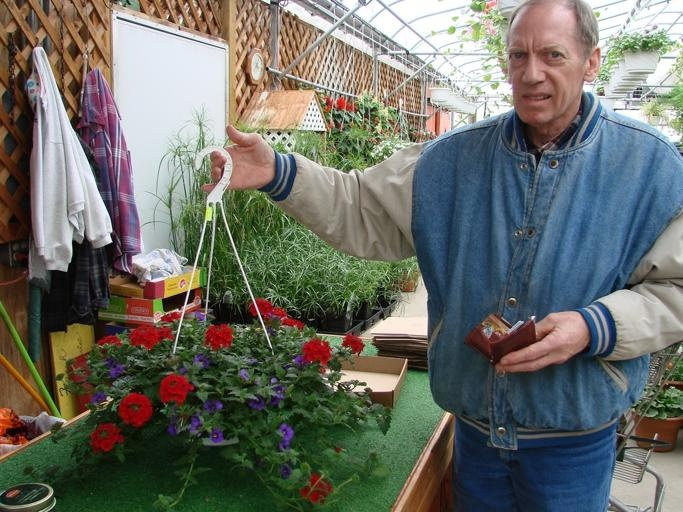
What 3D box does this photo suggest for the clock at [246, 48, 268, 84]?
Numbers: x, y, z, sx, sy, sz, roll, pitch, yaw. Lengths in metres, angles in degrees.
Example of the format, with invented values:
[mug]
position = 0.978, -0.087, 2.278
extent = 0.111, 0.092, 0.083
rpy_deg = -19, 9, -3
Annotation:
[clock]
position = -0.916, -2.011, 4.888
extent = 0.041, 0.339, 0.354
rpy_deg = 12, 17, 17

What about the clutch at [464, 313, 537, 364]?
[clutch]
position = 0.415, 0.202, 1.215
extent = 0.141, 0.110, 0.197
rpy_deg = 9, 7, 34
